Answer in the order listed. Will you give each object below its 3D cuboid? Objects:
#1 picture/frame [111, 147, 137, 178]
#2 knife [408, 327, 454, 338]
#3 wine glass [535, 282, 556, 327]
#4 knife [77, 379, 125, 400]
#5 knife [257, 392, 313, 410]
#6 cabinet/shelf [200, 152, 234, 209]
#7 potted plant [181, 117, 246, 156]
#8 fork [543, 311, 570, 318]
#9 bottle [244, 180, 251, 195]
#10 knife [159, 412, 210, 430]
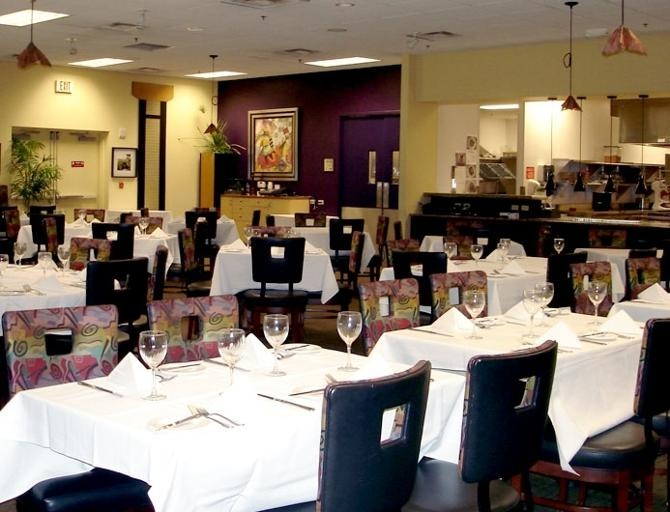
[{"bbox_3d":[-5.336,-2.396,14.451,0.762,0.985,0.069,-3,7,-42],"label":"picture/frame"},{"bbox_3d":[0.502,0.393,2.989,0.200,0.010,0.035,3,29,28],"label":"knife"},{"bbox_3d":[1.069,0.238,2.960,0.102,0.237,0.102,-13,16,-42],"label":"wine glass"},{"bbox_3d":[-0.827,0.473,2.040,0.134,0.024,0.019,16,12,35],"label":"knife"},{"bbox_3d":[-0.168,0.491,1.948,0.236,0.014,0.033,10,37,37],"label":"knife"},{"bbox_3d":[-3.142,-2.055,15.320,0.894,1.446,0.464,-2,3,-5],"label":"cabinet/shelf"},{"bbox_3d":[-3.242,-3.346,15.266,0.988,0.536,0.855,13,45,29],"label":"potted plant"},{"bbox_3d":[1.358,0.347,3.523,0.084,0.024,0.079,-2,11,-41],"label":"fork"},{"bbox_3d":[-2.244,-1.831,14.926,0.175,0.398,0.399,-2,3,-9],"label":"bottle"},{"bbox_3d":[-0.433,0.492,1.710,0.088,0.009,0.165,1,5,36],"label":"knife"}]
